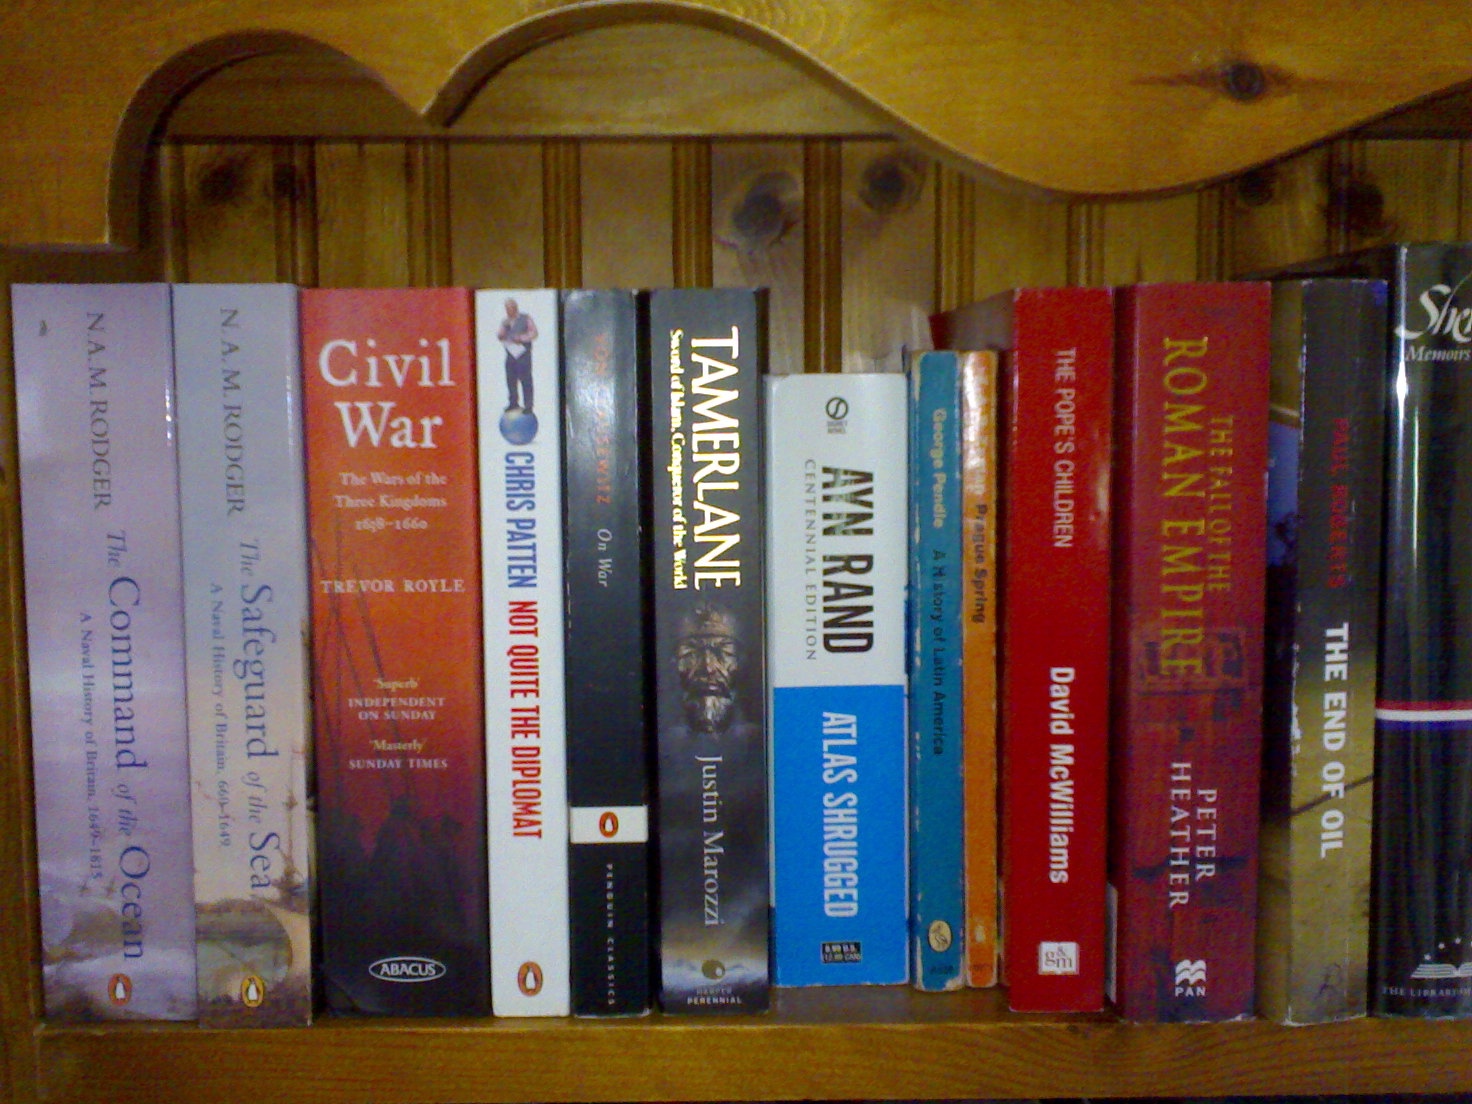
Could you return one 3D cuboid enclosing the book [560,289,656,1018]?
[{"bbox_3d":[-0.102,0.078,1.549,0.074,0.559,0.042,-3,-2,-11],"label":"book"}]
